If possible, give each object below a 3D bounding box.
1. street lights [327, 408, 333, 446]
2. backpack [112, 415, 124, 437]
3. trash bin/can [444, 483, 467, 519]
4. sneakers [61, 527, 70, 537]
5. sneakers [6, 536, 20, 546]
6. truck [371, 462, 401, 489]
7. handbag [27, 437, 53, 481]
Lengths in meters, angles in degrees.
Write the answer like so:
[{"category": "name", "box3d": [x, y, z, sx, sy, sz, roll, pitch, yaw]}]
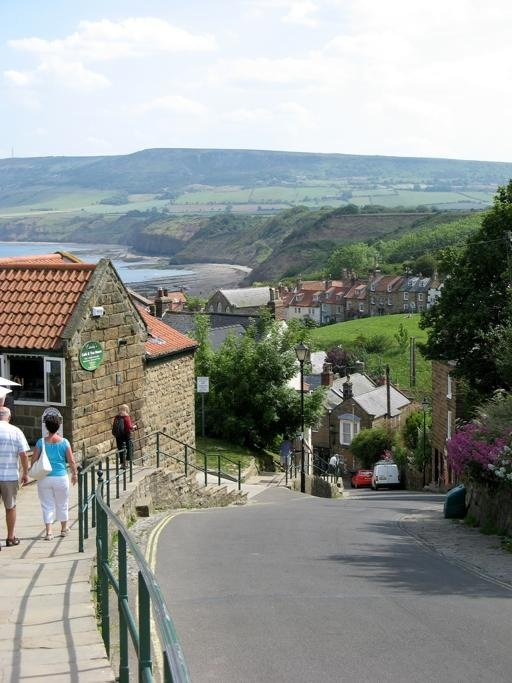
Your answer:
[{"category": "street lights", "box3d": [6.203, 7.384, 68.762, 0.431, 3.062, 0.785, -1, 6, 3]}, {"category": "backpack", "box3d": [-2.813, 1.810, 17.252, 0.165, 0.462, 0.328, -7, 8, -42]}, {"category": "trash bin/can", "box3d": [4.722, 3.886, 19.820, 0.505, 0.709, 0.853, 0, 5, 12]}, {"category": "sneakers", "box3d": [-2.375, 2.419, 10.550, 0.067, 0.062, 0.163, 3, 4, 4]}, {"category": "sneakers", "box3d": [-2.828, 2.375, 9.827, 0.080, 0.067, 0.174, 2, 2, 17]}, {"category": "truck", "box3d": [7.207, 7.522, 46.117, 1.119, 0.881, 1.763, 0, -1, 3]}, {"category": "handbag", "box3d": [-2.730, 1.380, 10.635, 0.228, 0.486, 0.693, 7, 3, -19]}]
